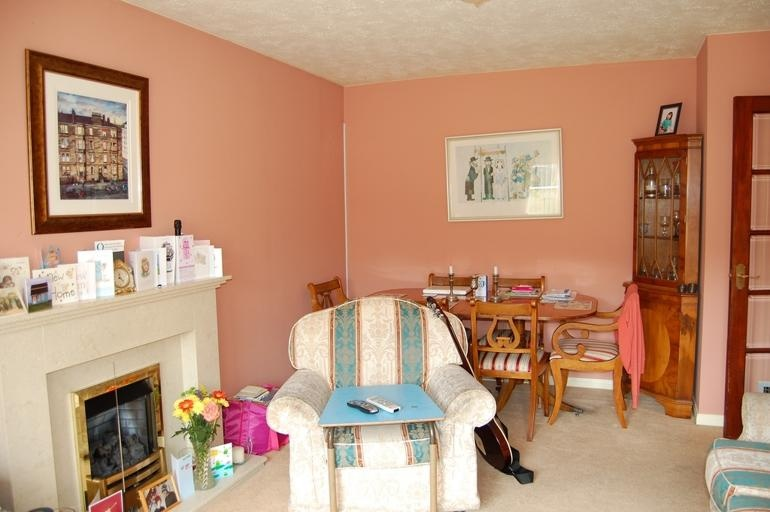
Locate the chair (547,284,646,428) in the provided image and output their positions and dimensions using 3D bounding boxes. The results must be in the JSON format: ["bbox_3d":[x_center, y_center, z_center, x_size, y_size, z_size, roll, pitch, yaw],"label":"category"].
[{"bbox_3d":[1.873,0.894,4.794,0.766,1.268,0.487,3,14,17],"label":"chair"}]

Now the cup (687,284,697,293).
[{"bbox_3d":[2.745,0.298,4.806,0.076,0.081,0.076,0,-2,0],"label":"cup"}]

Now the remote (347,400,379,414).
[{"bbox_3d":[-0.135,0.974,3.447,0.077,0.034,0.152,-3,6,-43],"label":"remote"}]

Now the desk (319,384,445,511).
[{"bbox_3d":[-0.012,1.149,3.661,0.850,0.811,0.719,-1,-1,-6],"label":"desk"}]

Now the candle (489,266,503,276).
[{"bbox_3d":[1.155,0.170,5.665,0.114,0.146,0.112,0,-2,-11],"label":"candle"}]

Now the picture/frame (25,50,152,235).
[{"bbox_3d":[-2.002,-0.748,3.682,0.134,1.189,0.915,8,16,36],"label":"picture/frame"}]

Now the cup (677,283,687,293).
[{"bbox_3d":[2.663,0.303,4.848,0.068,0.062,0.068,1,-3,0],"label":"cup"}]

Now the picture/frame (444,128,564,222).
[{"bbox_3d":[1.309,-0.862,5.678,1.045,0.766,0.038,0,2,11],"label":"picture/frame"}]

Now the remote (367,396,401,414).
[{"bbox_3d":[-0.009,0.948,3.449,0.087,0.028,0.163,-1,8,-38],"label":"remote"}]
